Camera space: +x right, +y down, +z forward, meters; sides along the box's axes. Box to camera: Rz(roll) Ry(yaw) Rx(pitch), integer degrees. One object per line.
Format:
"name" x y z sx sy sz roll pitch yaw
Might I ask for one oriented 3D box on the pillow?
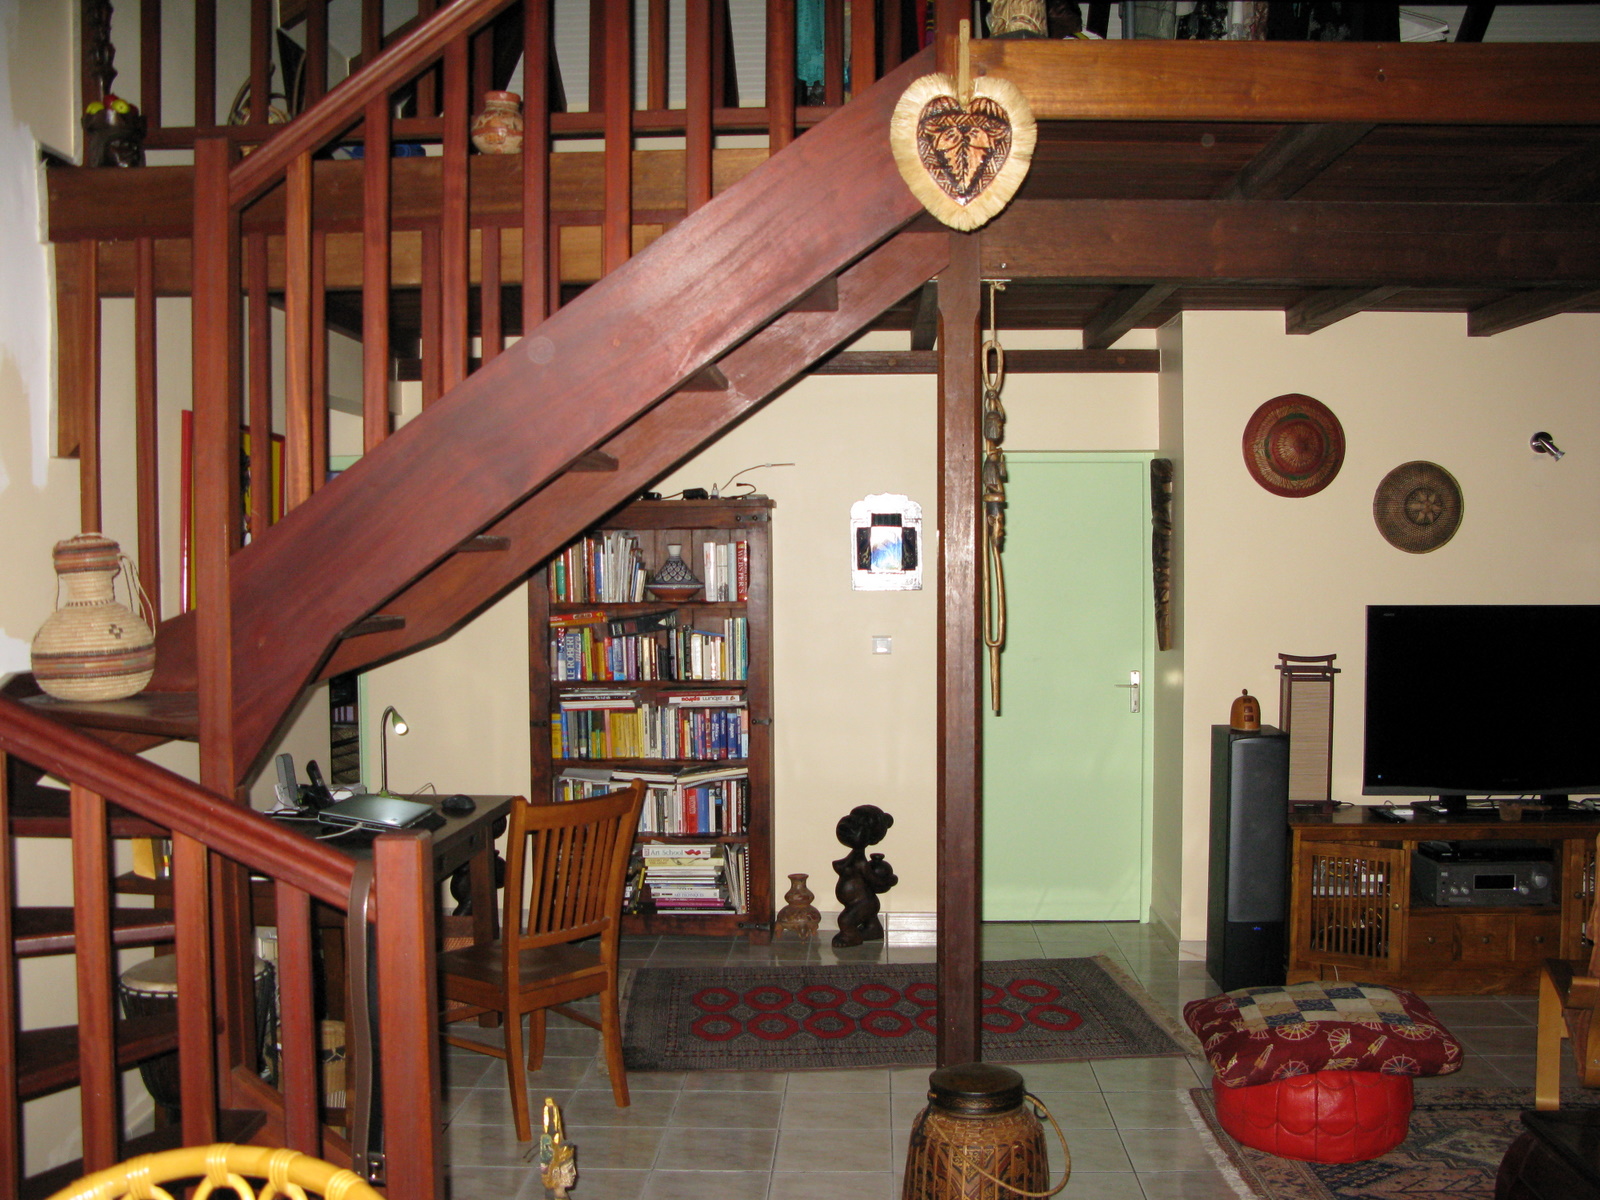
"pillow" 1.772 1.488 5.618 0.872 0.302 0.424 0 -2 9

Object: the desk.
"desk" -1.352 1.022 4.628 0.659 0.837 1.279 0 4 -3

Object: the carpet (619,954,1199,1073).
"carpet" 0.335 1.641 6.571 2.086 0.225 1.009 0 -2 -1

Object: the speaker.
"speaker" 1.799 1.052 6.720 0.371 1.069 0.264 -1 -2 33
